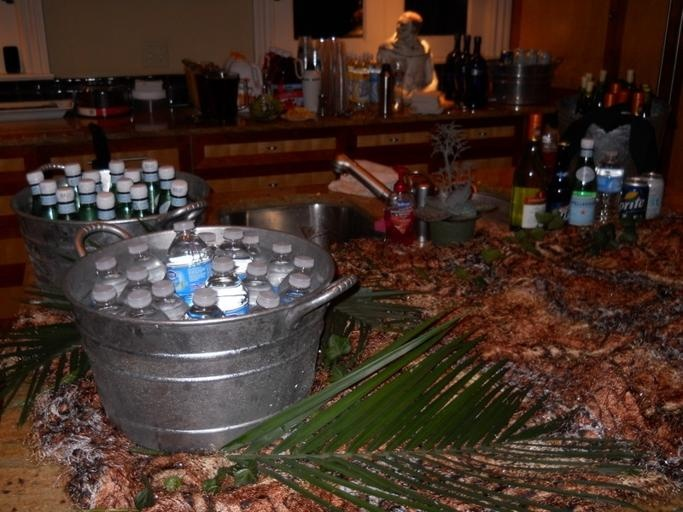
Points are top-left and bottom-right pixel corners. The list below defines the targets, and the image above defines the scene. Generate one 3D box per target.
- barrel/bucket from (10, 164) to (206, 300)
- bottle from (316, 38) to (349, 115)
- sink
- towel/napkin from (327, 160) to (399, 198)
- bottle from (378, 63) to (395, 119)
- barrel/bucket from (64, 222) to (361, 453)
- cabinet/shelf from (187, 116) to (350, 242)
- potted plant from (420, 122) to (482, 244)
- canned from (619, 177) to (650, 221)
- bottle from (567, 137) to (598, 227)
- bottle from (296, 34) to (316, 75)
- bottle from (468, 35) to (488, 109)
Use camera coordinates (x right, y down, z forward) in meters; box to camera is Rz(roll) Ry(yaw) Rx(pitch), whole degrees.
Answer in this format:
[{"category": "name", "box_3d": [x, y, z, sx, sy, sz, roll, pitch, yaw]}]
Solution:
[{"category": "barrel/bucket", "box_3d": [-0.466, -0.037, 1.141, 0.345, 0.188, 0.337, 4, 18, -1]}, {"category": "bottle", "box_3d": [-0.048, -0.970, 3.038, 0.152, 0.393, 0.078, -3, 21, -1]}, {"category": "sink", "box_3d": [-0.165, -0.091, 1.972, 0.346, 0.104, 0.246, -4, 19, -17]}, {"category": "towel/napkin", "box_3d": [0.087, -0.262, 1.969, 0.217, 0.064, 0.199, -3, 17, -15]}, {"category": "bottle", "box_3d": [0.248, -0.915, 3.072, 0.079, 0.271, 0.139, -1, 20, 4]}, {"category": "barrel/bucket", "box_3d": [-0.211, 0.109, 0.884, 0.373, 0.289, 0.378, -2, 19, 1]}, {"category": "cabinet/shelf", "box_3d": [-0.352, -0.337, 3.051, 0.789, 0.383, 0.624, -3, 39, -7]}, {"category": "potted plant", "box_3d": [0.272, -0.195, 1.514, 0.233, 0.308, 0.196, -4, 16, -13]}, {"category": "canned", "box_3d": [0.775, -0.151, 1.482, 0.072, 0.109, 0.065, -10, 26, -11]}, {"category": "bottle", "box_3d": [0.649, -0.200, 1.487, 0.070, 0.222, 0.207, 7, 21, 23]}, {"category": "bottle", "box_3d": [-0.187, -1.119, 3.119, 0.121, 0.223, 0.237, -3, 19, -3]}, {"category": "bottle", "box_3d": [0.783, -1.049, 3.198, 0.114, 0.400, 0.181, 3, 21, 12]}]
